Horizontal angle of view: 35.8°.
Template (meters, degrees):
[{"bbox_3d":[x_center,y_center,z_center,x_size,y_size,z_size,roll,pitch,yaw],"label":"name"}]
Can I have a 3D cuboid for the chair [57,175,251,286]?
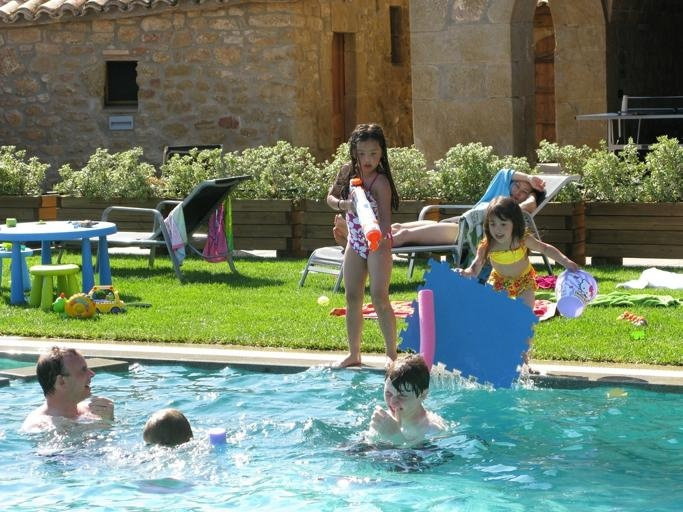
[{"bbox_3d":[-2.299,-0.402,12.847,1.681,1.125,1.059,2,9,5],"label":"chair"}]

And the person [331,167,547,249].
[{"bbox_3d":[1.104,-0.392,11.108,1.831,0.780,1.000,-1,7,-6],"label":"person"}]

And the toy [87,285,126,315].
[{"bbox_3d":[-2.390,0.441,10.743,0.359,0.284,0.263,0,-1,-4],"label":"toy"}]

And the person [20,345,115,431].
[{"bbox_3d":[-2.013,0.944,7.709,0.554,0.635,0.736,1,6,21],"label":"person"}]

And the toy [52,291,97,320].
[{"bbox_3d":[-2.642,0.483,10.459,0.332,0.177,0.247,0,-11,33],"label":"toy"}]

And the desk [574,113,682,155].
[{"bbox_3d":[4.408,-1.973,16.566,1.427,0.637,3.887,0,6,13],"label":"desk"}]

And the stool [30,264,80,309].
[{"bbox_3d":[-2.930,0.273,11.165,0.345,0.374,0.359,-6,11,-6],"label":"stool"}]

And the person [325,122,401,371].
[{"bbox_3d":[0.183,-0.088,8.737,0.567,2.007,0.622,-1,5,-2],"label":"person"}]

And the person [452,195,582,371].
[{"bbox_3d":[1.459,0.236,8.782,1.041,1.447,0.499,-5,4,-3],"label":"person"}]

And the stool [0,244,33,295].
[{"bbox_3d":[-3.652,0.121,11.828,0.497,0.578,0.489,-3,6,-38],"label":"stool"}]
